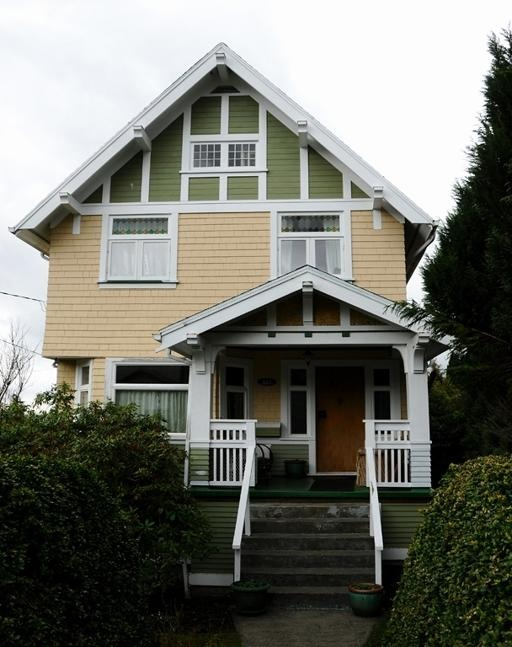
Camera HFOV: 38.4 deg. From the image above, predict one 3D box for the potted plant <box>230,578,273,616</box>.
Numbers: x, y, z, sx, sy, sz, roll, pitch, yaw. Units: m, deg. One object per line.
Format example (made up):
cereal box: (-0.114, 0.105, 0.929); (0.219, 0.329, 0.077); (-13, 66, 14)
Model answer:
potted plant: (-0.070, 3.332, 8.883); (0.452, 0.357, 0.461); (1, -12, 1)

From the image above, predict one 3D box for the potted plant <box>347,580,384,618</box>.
potted plant: (1.280, 3.251, 8.632); (0.370, 0.239, 0.362); (-5, -18, 22)

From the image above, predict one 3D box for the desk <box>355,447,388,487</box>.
desk: (1.822, 2.326, 11.841); (0.440, 0.624, 1.962); (0, -11, 7)
